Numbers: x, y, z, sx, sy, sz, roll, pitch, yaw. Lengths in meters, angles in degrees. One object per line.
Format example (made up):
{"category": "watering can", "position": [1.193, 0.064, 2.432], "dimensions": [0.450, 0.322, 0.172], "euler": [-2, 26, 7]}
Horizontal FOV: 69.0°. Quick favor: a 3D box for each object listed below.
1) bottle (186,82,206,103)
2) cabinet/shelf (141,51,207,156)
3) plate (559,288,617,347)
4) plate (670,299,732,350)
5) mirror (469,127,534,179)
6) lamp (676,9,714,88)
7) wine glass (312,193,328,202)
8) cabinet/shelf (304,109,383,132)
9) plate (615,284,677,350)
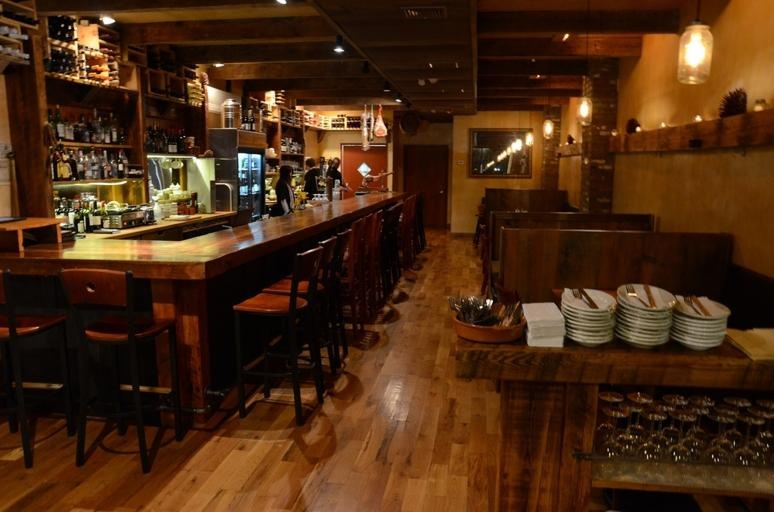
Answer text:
{"category": "bottle", "position": [-2.870, -2.460, 8.486], "dimensions": [0.113, 0.324, 0.241], "euler": [8, 12, 17]}
{"category": "cabinet/shelf", "position": [-3.101, -2.241, 8.145], "dimensions": [0.475, 1.503, 1.572], "euler": [3, 7, 11]}
{"category": "plate", "position": [1.093, 0.331, 3.100], "dimensions": [0.288, 0.192, 0.284], "euler": [0, 14, -1]}
{"category": "plate", "position": [1.655, 0.357, 3.010], "dimensions": [0.271, 0.126, 0.279], "euler": [1, 19, 10]}
{"category": "mirror", "position": [2.792, -2.517, 13.552], "dimensions": [1.238, 0.959, 0.091], "euler": [0, 3, 4]}
{"category": "lamp", "position": [2.431, -1.709, 4.447], "dimensions": [0.224, 0.629, 0.422], "euler": [2, 11, 28]}
{"category": "wine glass", "position": [-1.231, -1.074, 10.377], "dimensions": [0.289, 0.104, 0.288], "euler": [2, 3, 12]}
{"category": "cabinet/shelf", "position": [-1.364, -3.607, 14.785], "dimensions": [2.221, 0.551, 2.060], "euler": [-7, 10, -23]}
{"category": "plate", "position": [1.394, 0.308, 3.068], "dimensions": [0.314, 0.231, 0.312], "euler": [0, 16, 4]}
